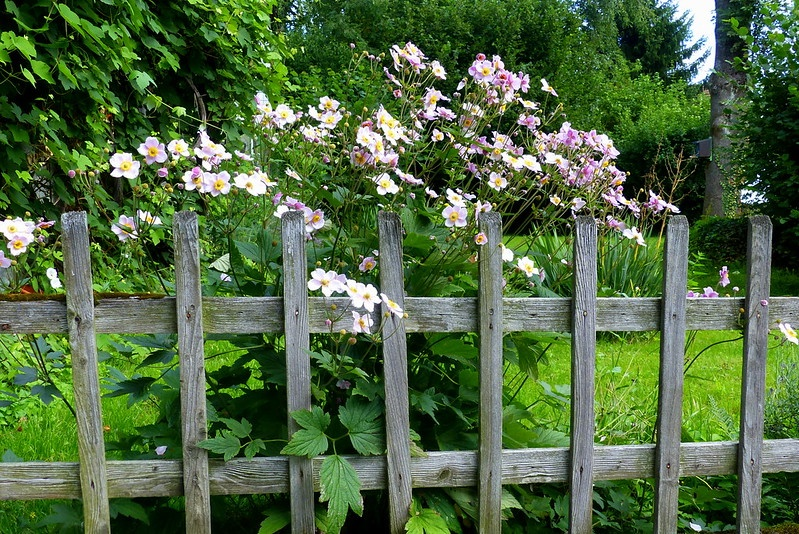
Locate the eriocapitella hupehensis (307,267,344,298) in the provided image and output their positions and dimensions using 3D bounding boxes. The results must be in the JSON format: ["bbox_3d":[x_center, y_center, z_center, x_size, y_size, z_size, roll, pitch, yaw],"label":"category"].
[{"bbox_3d":[-0.439,0.089,5.717,0.229,0.167,0.104,-4,0,-10],"label":"eriocapitella hupehensis"}]

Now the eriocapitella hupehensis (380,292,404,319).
[{"bbox_3d":[-0.044,0.234,5.749,0.138,0.152,0.113,-4,0,-3],"label":"eriocapitella hupehensis"}]

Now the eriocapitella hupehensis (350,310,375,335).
[{"bbox_3d":[-0.222,0.337,5.730,0.126,0.143,0.164,-4,0,-2],"label":"eriocapitella hupehensis"}]
